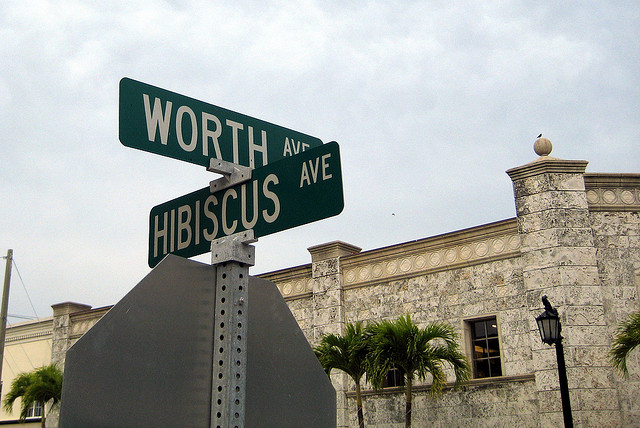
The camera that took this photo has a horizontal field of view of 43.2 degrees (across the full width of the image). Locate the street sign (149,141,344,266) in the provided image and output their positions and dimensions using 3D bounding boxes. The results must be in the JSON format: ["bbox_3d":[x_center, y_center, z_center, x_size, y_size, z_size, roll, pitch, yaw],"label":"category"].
[{"bbox_3d":[-0.943,-0.150,10.198,2.479,1.227,0.207,-8,-19,12],"label":"street sign"}]
